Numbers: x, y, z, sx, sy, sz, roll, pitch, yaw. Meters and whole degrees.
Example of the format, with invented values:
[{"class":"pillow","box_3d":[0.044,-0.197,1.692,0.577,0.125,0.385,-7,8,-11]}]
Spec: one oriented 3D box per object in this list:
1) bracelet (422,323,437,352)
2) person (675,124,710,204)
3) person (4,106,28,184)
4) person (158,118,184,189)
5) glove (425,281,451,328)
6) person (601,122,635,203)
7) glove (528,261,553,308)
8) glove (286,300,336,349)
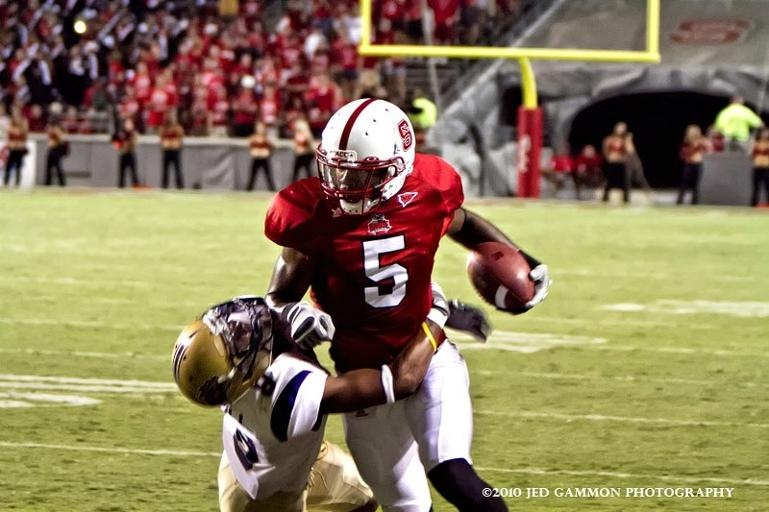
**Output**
[{"class":"bracelet","box_3d":[0.324,0.578,9.230,0.051,0.174,0.130,-32,17,-10]},{"class":"person","box_3d":[3.965,-1.188,16.643,0.382,1.022,0.505,2,2,12]},{"class":"person","box_3d":[-3.780,-1.142,13.330,0.224,0.837,0.415,1,2,-16]},{"class":"person","box_3d":[-2.008,-0.972,12.269,0.216,0.669,0.587,1,1,-11]},{"class":"glove","box_3d":[0.393,0.347,9.407,0.168,0.327,0.127,-24,-23,11]},{"class":"person","box_3d":[3.025,-1.212,16.799,0.386,1.015,0.432,2,2,9]},{"class":"glove","box_3d":[1.140,0.205,9.452,0.104,0.292,0.240,17,25,3]},{"class":"glove","box_3d":[-0.529,0.476,9.051,0.369,0.276,0.144,45,-13,-15]}]
